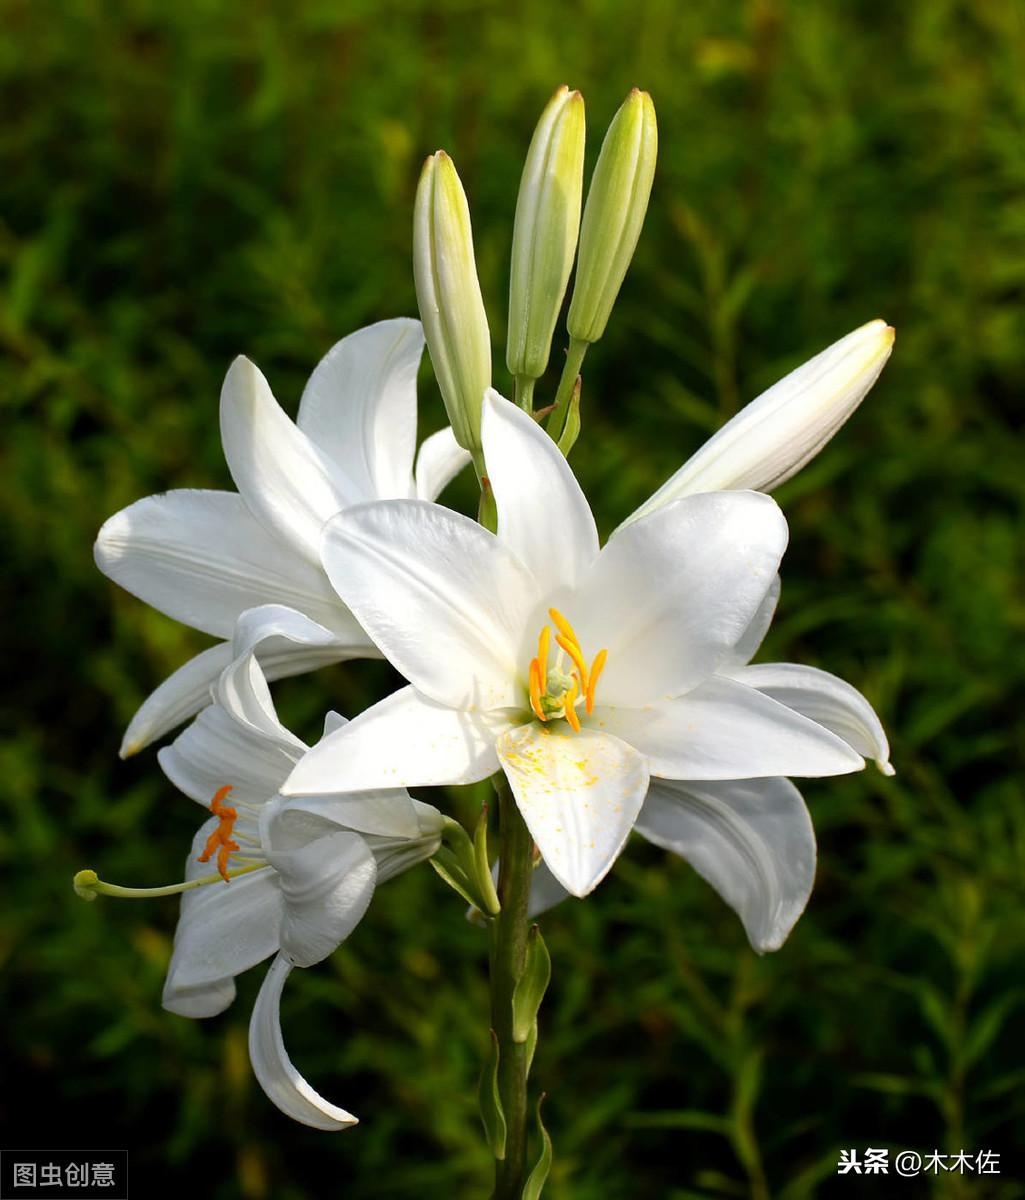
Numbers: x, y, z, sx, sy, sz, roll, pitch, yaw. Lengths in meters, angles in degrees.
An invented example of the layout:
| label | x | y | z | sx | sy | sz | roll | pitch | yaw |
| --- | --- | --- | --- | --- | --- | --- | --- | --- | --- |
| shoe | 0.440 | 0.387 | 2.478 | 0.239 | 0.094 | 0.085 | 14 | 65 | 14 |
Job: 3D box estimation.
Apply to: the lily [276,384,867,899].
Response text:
| label | x | y | z | sx | sy | sz | roll | pitch | yaw |
| --- | --- | --- | --- | --- | --- | --- | --- | --- | --- |
| lily | 0.055 | 0.039 | 1.035 | 0.406 | 0.172 | 0.320 | 19 | 83 | 4 |

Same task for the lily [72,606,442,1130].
| label | x | y | z | sx | sy | sz | roll | pitch | yaw |
| --- | --- | --- | --- | --- | --- | --- | --- | --- | --- |
| lily | -0.172 | 0.224 | 1.187 | 0.392 | 0.313 | 0.302 | 2 | 105 | 2 |

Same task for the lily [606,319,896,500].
| label | x | y | z | sx | sy | sz | roll | pitch | yaw |
| --- | --- | --- | --- | --- | --- | --- | --- | --- | --- |
| lily | 0.270 | -0.204 | 1.564 | 0.373 | 0.083 | 0.082 | -36 | 45 | -14 |
